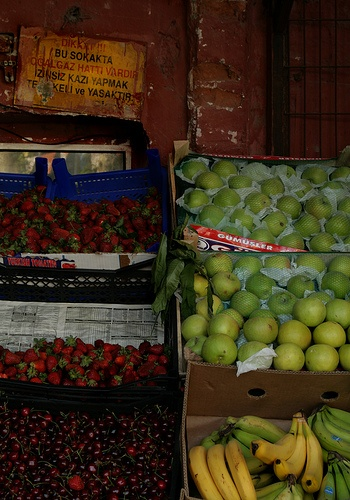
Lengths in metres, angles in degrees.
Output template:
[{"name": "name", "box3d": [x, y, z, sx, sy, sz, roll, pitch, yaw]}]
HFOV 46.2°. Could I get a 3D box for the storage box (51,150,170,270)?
[{"name": "storage box", "box3d": [-0.469, -0.433, 3.148, 0.897, 0.508, 0.828, -6, 55, -12]}]
